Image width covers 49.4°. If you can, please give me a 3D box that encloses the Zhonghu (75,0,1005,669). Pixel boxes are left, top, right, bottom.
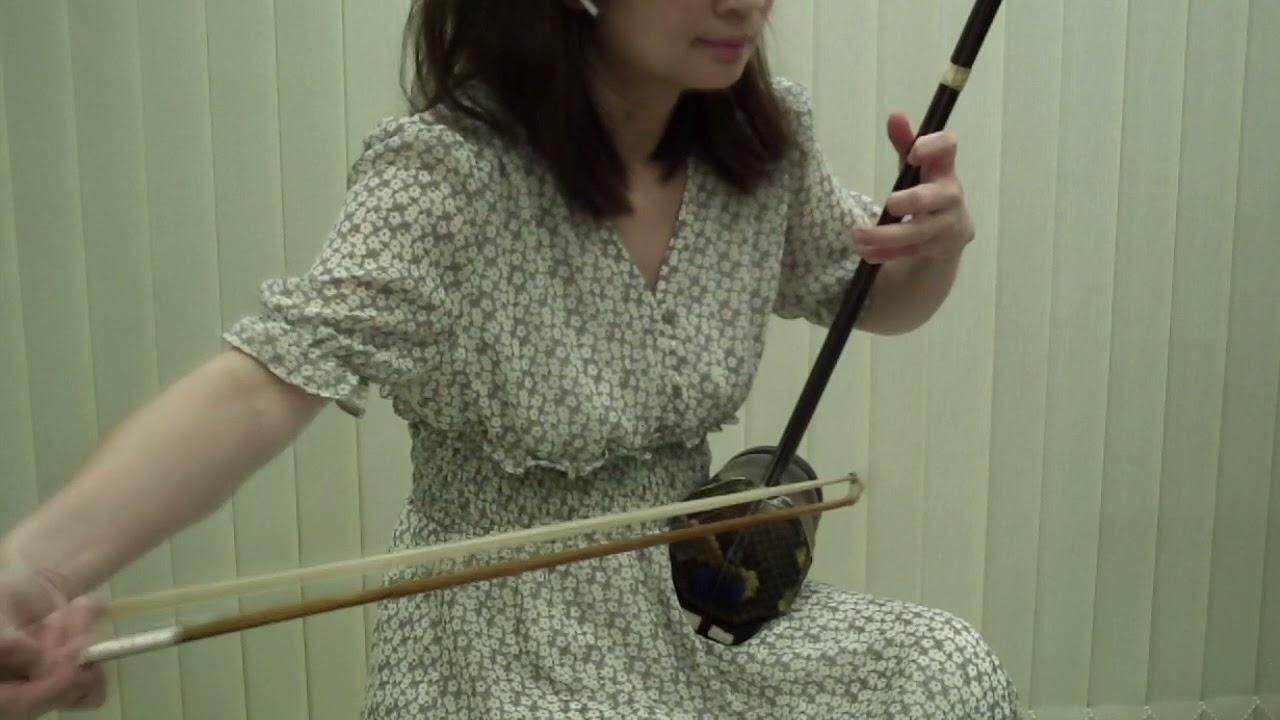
[{"bbox_3d":[-0.221,-0.064,2.174,0.228,0.653,1.792,38,105,42],"label":"Zhonghu"}]
